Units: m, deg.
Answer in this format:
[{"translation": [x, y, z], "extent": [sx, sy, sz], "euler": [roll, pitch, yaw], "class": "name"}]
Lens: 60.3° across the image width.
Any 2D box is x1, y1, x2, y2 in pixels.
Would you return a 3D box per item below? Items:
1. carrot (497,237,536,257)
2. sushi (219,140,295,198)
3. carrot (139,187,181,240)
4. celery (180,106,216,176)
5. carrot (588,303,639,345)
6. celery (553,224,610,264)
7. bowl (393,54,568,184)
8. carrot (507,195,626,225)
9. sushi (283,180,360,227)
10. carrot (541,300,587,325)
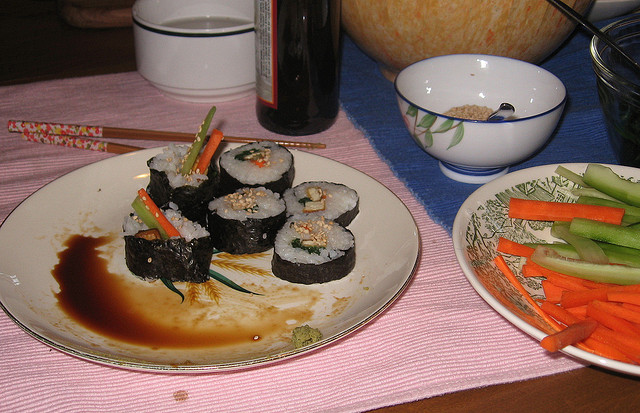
[{"translation": [0.496, 0.106, 1.450], "extent": [0.121, 0.035, 0.035], "euler": [9, 85, -2], "class": "carrot"}, {"translation": [-0.191, -0.120, 1.639], "extent": [0.174, 0.088, 0.168], "euler": [-3, 43, 0], "class": "sushi"}, {"translation": [-0.442, 0.003, 1.450], "extent": [0.049, 0.252, 0.039], "euler": [-28, 58, -9], "class": "carrot"}, {"translation": [-0.372, -0.191, 1.669], "extent": [0.047, 0.268, 0.040], "euler": [22, 9, -21], "class": "celery"}, {"translation": [0.660, 0.261, 1.249], "extent": [0.153, 0.036, 0.030], "euler": [31, 48, 19], "class": "carrot"}, {"translation": [0.673, 0.091, 1.424], "extent": [0.068, 0.035, 0.106], "euler": [-16, 29, -18], "class": "celery"}, {"translation": [0.505, -0.231, 1.733], "extent": [0.470, 0.259, 0.478], "euler": [-2, 31, 1], "class": "bowl"}, {"translation": [0.657, 0.015, 1.486], "extent": [0.308, 0.047, 0.057], "euler": [3, 58, -2], "class": "carrot"}, {"translation": [-0.006, -0.002, 1.577], "extent": [0.215, 0.074, 0.164], "euler": [11, 54, 10], "class": "sushi"}, {"translation": [0.564, 0.249, 1.295], "extent": [0.058, 0.015, 0.059], "euler": [20, 23, 23], "class": "carrot"}]
